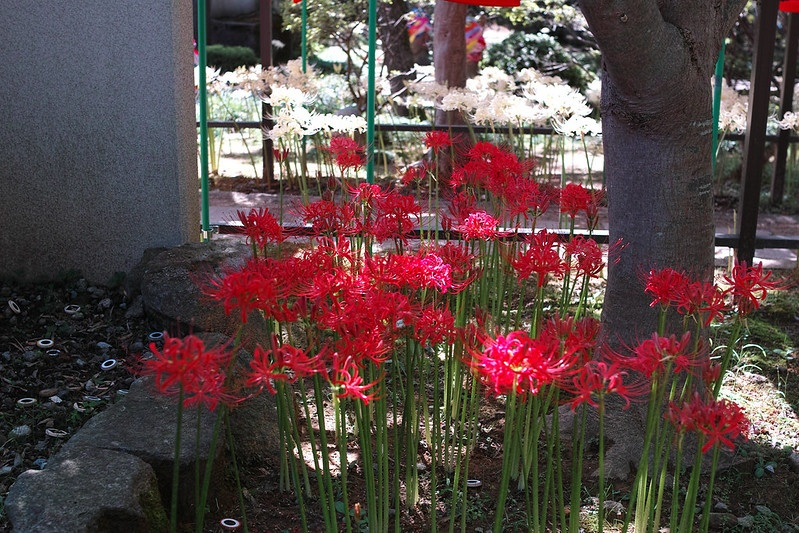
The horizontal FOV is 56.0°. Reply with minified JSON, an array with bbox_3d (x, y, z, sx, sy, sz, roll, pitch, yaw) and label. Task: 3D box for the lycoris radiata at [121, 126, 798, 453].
[{"bbox_3d":[-0.644,-0.019,6.206,5.788,2.090,1.509,1,-1,-4],"label":"lycoris radiata"}]
